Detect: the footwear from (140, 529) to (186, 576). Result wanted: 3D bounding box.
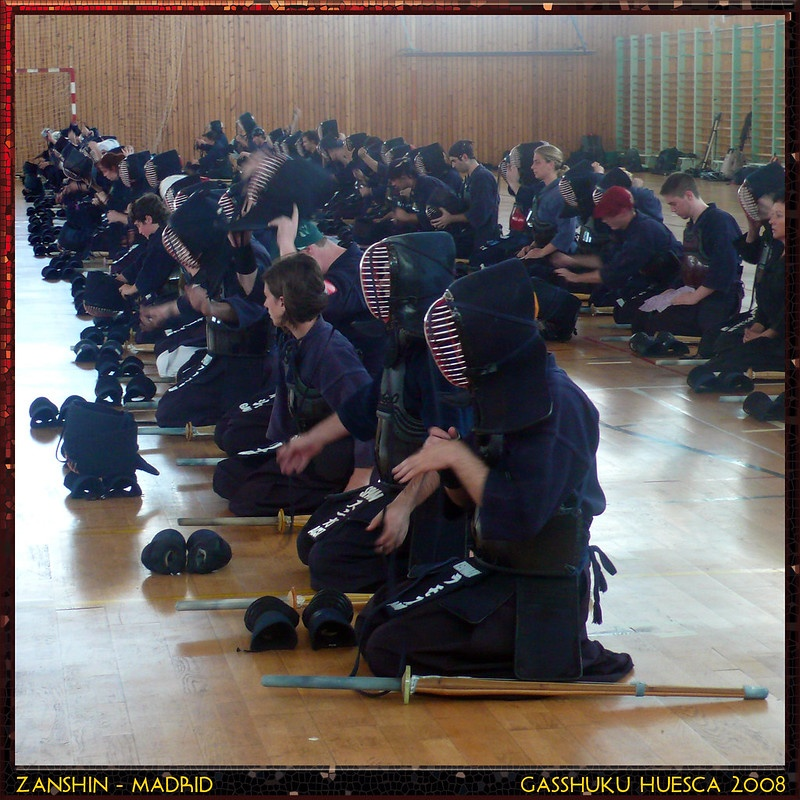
[{"bbox_3d":[-1.163,0.766,4.035,0.216,0.216,0.129,-3,12,-12],"label":"footwear"}]

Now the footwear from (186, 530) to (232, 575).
[{"bbox_3d":[-0.950,0.756,4.009,0.288,0.157,0.211,-3,9,2],"label":"footwear"}]

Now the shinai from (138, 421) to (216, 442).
[{"bbox_3d":[-1.757,0.254,6.491,1.049,0.128,0.166,0,-6,10],"label":"shinai"}]

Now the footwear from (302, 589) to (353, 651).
[{"bbox_3d":[-0.305,0.877,3.314,0.251,0.106,0.301,-4,23,-2],"label":"footwear"}]

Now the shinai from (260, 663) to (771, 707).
[{"bbox_3d":[0.400,1.004,2.848,1.474,0.130,0.115,1,-35,-4],"label":"shinai"}]
